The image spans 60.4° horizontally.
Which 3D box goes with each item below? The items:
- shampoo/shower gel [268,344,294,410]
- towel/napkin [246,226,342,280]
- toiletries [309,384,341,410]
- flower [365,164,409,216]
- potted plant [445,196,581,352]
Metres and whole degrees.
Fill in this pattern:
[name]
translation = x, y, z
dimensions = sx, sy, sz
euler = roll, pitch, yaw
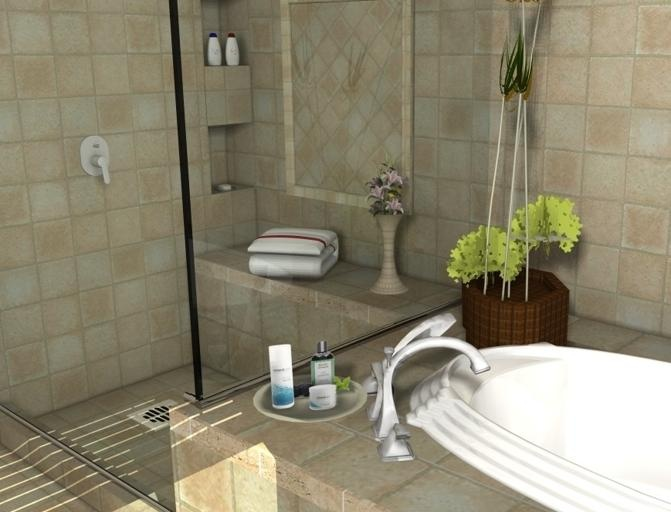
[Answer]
[shampoo/shower gel]
translation = -0.177, 0.393, 1.936
dimensions = 0.082, 0.215, 0.102
euler = -1, 18, -5
[towel/napkin]
translation = -0.160, -0.019, 2.190
dimensions = 0.224, 0.090, 0.224
euler = 3, 13, 6
[toiletries]
translation = -0.035, 0.450, 1.911
dimensions = 0.084, 0.060, 0.079
euler = 4, 9, 38
[flower]
translation = 0.202, -0.291, 2.448
dimensions = 0.164, 0.187, 0.139
euler = 5, 11, -2
[potted plant]
translation = 0.767, 0.115, 2.492
dimensions = 0.474, 0.590, 0.479
euler = -10, 11, -31
